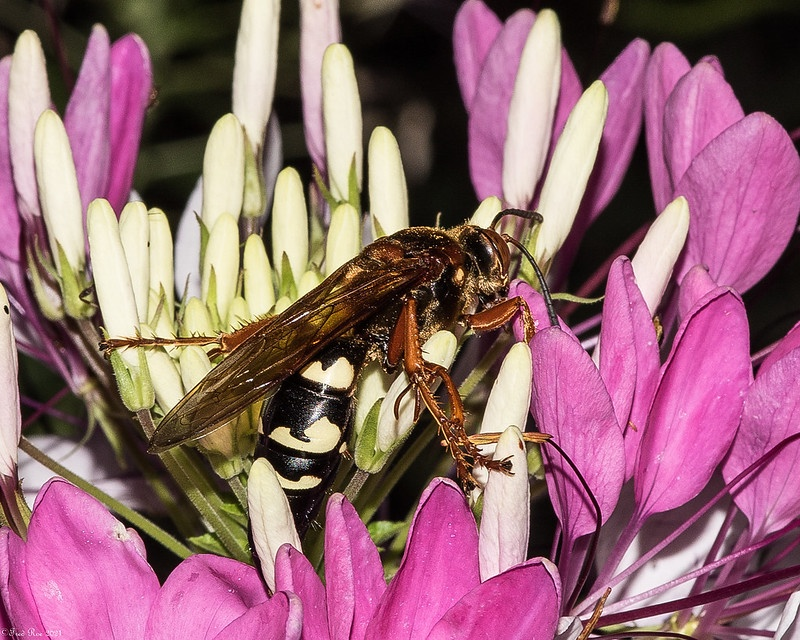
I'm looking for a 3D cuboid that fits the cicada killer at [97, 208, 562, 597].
[{"bbox_3d":[-0.044,0.026,1.092,0.434,0.166,0.325,-35,27,-24],"label":"cicada killer"}]
